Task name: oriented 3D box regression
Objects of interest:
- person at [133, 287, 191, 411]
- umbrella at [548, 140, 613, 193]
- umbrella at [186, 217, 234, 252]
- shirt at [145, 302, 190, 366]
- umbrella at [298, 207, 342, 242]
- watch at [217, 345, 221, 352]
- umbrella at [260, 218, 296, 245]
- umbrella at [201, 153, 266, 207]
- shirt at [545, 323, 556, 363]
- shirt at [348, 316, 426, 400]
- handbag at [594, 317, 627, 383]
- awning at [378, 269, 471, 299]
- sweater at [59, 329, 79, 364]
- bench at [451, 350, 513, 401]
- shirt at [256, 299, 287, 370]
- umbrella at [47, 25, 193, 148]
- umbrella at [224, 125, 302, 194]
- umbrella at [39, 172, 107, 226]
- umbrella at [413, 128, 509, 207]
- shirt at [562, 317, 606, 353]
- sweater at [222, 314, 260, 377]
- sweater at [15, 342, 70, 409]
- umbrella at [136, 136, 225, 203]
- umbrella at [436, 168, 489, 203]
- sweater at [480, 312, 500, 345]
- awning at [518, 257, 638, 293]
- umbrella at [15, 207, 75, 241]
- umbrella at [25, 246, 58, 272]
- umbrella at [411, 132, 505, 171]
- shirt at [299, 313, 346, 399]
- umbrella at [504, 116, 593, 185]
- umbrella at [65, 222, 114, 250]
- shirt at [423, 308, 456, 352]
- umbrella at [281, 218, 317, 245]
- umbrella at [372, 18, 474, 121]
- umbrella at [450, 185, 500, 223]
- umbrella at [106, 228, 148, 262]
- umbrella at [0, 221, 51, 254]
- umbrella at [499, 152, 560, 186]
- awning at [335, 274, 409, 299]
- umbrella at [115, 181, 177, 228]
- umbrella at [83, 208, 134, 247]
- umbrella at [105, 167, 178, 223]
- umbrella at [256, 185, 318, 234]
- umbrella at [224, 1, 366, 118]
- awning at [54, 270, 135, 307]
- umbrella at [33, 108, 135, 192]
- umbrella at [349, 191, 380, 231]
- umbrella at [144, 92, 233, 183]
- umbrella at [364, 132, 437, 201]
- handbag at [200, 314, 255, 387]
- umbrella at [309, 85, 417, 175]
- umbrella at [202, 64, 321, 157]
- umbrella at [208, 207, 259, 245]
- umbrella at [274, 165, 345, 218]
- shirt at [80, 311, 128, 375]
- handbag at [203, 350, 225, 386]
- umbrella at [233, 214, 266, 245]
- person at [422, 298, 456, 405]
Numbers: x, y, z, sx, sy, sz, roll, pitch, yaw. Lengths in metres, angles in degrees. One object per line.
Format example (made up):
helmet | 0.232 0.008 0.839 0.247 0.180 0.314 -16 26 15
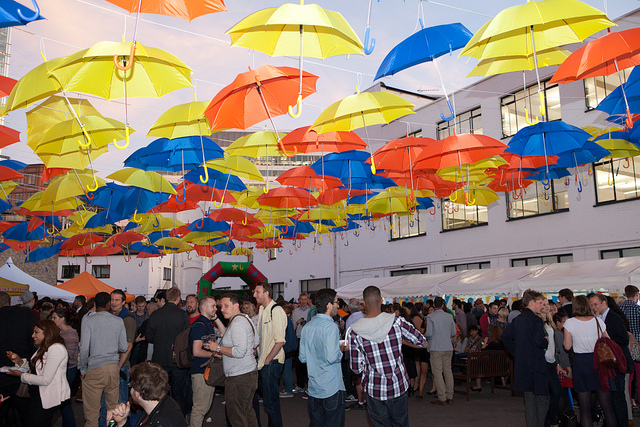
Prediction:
person | -3.748 3.055 13.583 1.243 3.203 0.883 -1 27 -25
umbrella | 7.159 -1.577 16.306 1.469 1.298 1.402 -2 -13 -35
umbrella | -4.572 0.900 23.919 1.468 1.295 1.409 0 4 -4
shirt | -3.462 2.723 13.339 1.066 1.474 0.882 3 7 0
umbrella | -0.077 0.441 21.950 1.218 1.161 1.252 -2 0 28
watch | -2.005 2.649 11.383 0.101 0.104 0.101 -2 -19 8
umbrella | -1.845 0.725 24.364 0.976 1.012 1.135 1 -5 -16
umbrella | -2.680 -1.220 17.222 1.573 1.304 1.619 -4 -17 35
shirt | 5.007 2.843 12.627 0.231 0.684 0.496 -5 2 6
shirt | 1.261 2.555 11.063 1.454 1.562 1.043 -11 14 -3
handbag | 5.843 2.687 11.887 0.647 1.299 0.541 -15 -8 11
awning | 3.477 3.139 25.053 2.126 0.637 3.017 3 5 -37
sweater | -5.313 2.783 12.179 0.422 0.701 0.705 12 -18 -43
bench | 4.584 4.540 16.481 1.760 1.373 0.762 6 -8 -35
shirt | -1.083 2.685 12.840 0.548 1.483 1.043 2 -8 -28
umbrella | -3.638 -2.103 10.980 2.318 1.840 2.323 -10 -8 24
umbrella | -1.572 -1.458 16.267 2.054 1.774 2.266 12 20 38
umbrella | -7.434 -0.397 17.519 1.358 1.225 1.387 -10 21 9
umbrella | 3.513 -1.135 14.197 1.335 1.020 1.354 -16 0 -15
shirt | 5.494 2.493 12.032 0.763 0.792 0.447 -6 -5 19
sweater | -1.502 2.540 11.792 0.685 1.146 1.220 0 4 26
sweater | -5.501 3.146 11.454 0.952 1.302 1.040 2 3 29
umbrella | -4.133 -1.221 17.102 2.319 1.838 2.467 -9 -1 -15
umbrella | 4.293 -0.851 17.149 0.985 1.028 1.123 -4 -30 -2
sweater | 5.495 3.694 18.858 0.599 1.112 0.845 -1 -7 4
awning | 8.645 2.048 19.335 2.167 0.637 2.244 5 -20 -31
umbrella | -10.921 0.465 22.944 1.470 1.086 1.515 3 -3 0
umbrella | -13.023 2.102 27.068 0.923 0.915 0.939 -25 -4 -7
umbrella | 3.362 -1.485 14.136 1.202 0.479 1.189 -15 -5 -42
shirt | -0.012 2.665 11.184 0.864 1.552 0.602 3 11 29
umbrella | 5.817 -1.529 14.898 1.303 1.201 1.355 -18 -17 36
umbrella | -9.533 0.943 23.844 0.973 0.686 1.004 -5 -17 5
shirt | 3.225 3.169 15.646 0.796 1.014 0.524 2 -14 -9
umbrella | -0.892 0.620 24.962 1.139 1.026 1.132 -1 -24 5
umbrella | 2.533 -3.115 12.857 2.185 2.178 2.167 -5 -2 -36
umbrella | 5.361 -0.345 19.420 0.997 0.917 1.006 1 -3 -21
umbrella | -7.882 1.356 23.563 1.418 1.240 1.428 3 9 35
umbrella | -11.638 0.993 22.778 1.074 0.818 1.049 1 1 23
umbrella | 5.925 -1.260 16.463 0.846 0.636 0.877 4 -4 -7
awning | 1.838 3.502 27.133 2.270 0.575 2.158 -3 -14 -29
umbrella | -6.121 -0.313 19.750 1.260 1.167 1.261 -14 -12 -36
umbrella | -7.661 0.389 20.524 0.991 0.976 0.929 -17 -12 -4
umbrella | -5.641 -0.542 18.006 2.165 1.710 2.067 8 3 -12
umbrella | -1.245 -0.129 20.518 1.755 1.541 1.816 -2 -5 -4
umbrella | -0.440 -2.778 10.918 2.440 2.071 1.171 -2 -13 -1
awning | -10.982 3.639 28.771 3.540 1.071 3.614 -10 -22 40
umbrella | -5.829 -1.618 14.141 1.807 1.961 1.724 9 0 -3
umbrella | 1.683 -0.097 22.515 1.180 1.179 1.304 -10 2 -23
umbrella | -3.033 -1.728 14.009 2.154 2.063 2.082 1 -4 -38
umbrella | 2.239 -1.349 15.490 1.206 1.037 1.222 -4 -8 -16
handbag | -2.093 2.952 12.200 0.764 1.306 0.848 2 -21 -6
umbrella | 0.977 -1.822 13.467 2.235 1.900 2.176 -1 -1 -29
umbrella | -1.174 -1.979 11.938 2.273 1.837 2.381 -16 -7 -14
umbrella | -3.282 0.494 21.002 1.564 1.394 1.631 6 4 37
umbrella | -0.474 -0.866 17.129 1.433 0.748 1.408 -17 -19 33
shirt | -4.637 2.728 12.362 0.917 1.290 0.325 3 -14 -24
handbag | -2.144 3.090 11.694 0.367 0.771 0.638 -1 -25 12
umbrella | -2.816 0.602 22.955 1.182 1.189 1.206 2 -11 2
person | 3.162 3.660 15.670 0.885 2.678 0.801 5 -12 -20
